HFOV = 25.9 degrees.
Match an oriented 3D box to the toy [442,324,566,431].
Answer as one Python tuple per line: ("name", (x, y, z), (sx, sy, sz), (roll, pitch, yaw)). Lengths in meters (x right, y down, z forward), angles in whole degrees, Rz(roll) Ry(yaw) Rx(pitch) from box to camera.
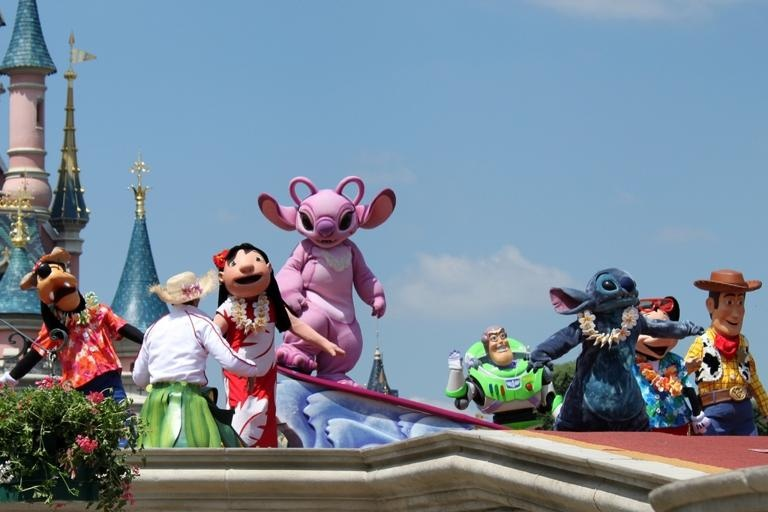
("toy", (1.221, 1.445, 16.539), (1.224, 1.398, 0.763), (2, -17, -21))

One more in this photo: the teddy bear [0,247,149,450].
("teddy bear", (-2.749, 0.570, 14.793), (1.112, 1.387, 0.516), (0, -10, -17))

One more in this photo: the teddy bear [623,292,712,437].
("teddy bear", (2.721, 1.301, 16.170), (0.650, 1.635, 0.555), (-9, 11, 7))

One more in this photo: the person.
("person", (-1.639, 0.940, 14.052), (0.977, 1.669, 0.949), (-6, -14, 32))
